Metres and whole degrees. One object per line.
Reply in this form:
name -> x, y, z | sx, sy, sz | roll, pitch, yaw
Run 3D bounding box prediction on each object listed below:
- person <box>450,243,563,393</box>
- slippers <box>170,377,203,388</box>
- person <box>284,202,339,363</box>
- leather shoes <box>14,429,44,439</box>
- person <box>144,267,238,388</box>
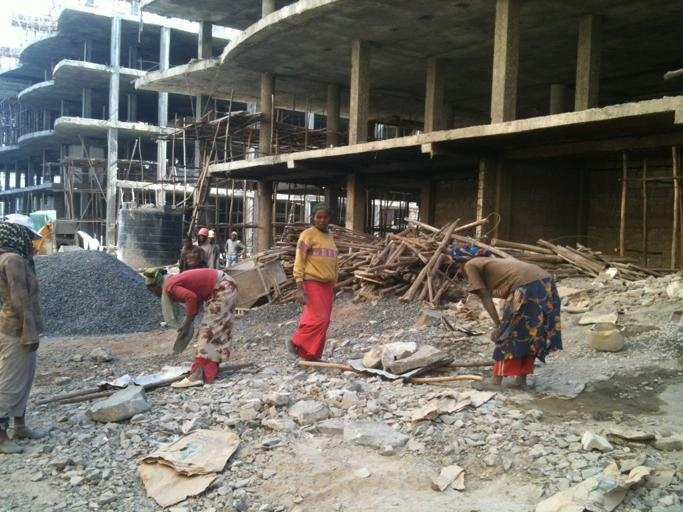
person -> 2.021, 0.768, 6.840 | 1.040, 1.511, 0.388 | 0, 5, 14
slippers -> -1.993, 1.655, 7.623 | 0.418, 0.126, 0.135 | 2, -25, -5
person -> -0.419, 0.381, 8.373 | 0.721, 2.256, 0.360 | -2, 5, -5
leather shoes -> -3.485, 1.993, 6.594 | 0.359, 0.126, 0.118 | 0, 3, -14
person -> -1.806, 0.930, 7.673 | 0.868, 1.506, 0.472 | -5, 6, -41
